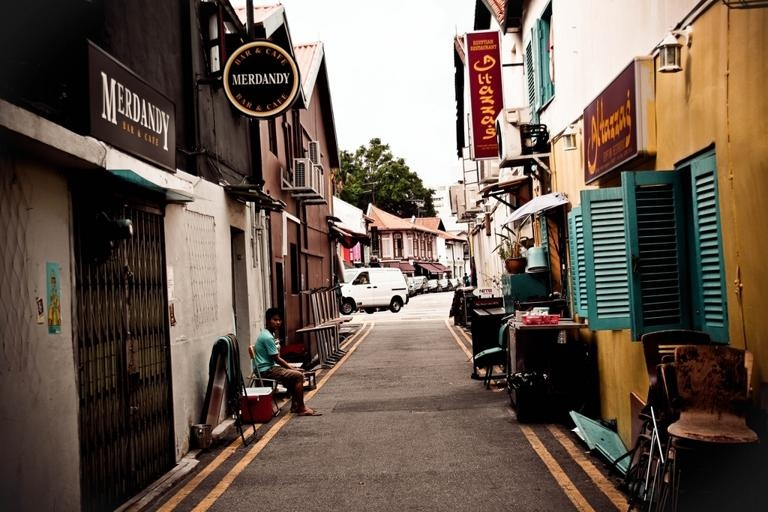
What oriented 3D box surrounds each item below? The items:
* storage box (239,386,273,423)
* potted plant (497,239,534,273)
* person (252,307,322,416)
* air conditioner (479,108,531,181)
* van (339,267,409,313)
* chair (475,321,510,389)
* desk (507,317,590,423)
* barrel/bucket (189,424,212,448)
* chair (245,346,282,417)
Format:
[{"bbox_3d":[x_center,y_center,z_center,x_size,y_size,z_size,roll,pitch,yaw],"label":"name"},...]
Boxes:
[{"bbox_3d":[-2.180,2.554,11.232,0.558,0.485,0.584,-1,-2,4],"label":"storage box"},{"bbox_3d":[3.274,-0.011,16.163,0.768,0.880,0.810,3,-9,-17],"label":"potted plant"},{"bbox_3d":[-1.894,1.897,11.766,1.018,1.781,1.121,-2,0,-33],"label":"person"},{"bbox_3d":[2.888,-2.706,14.322,0.901,2.008,1.560,1,-3,-2],"label":"air conditioner"},{"bbox_3d":[-0.477,1.910,36.335,4.089,2.358,1.879,0,-1,-33],"label":"van"},{"bbox_3d":[2.119,1.975,12.792,0.997,1.531,0.691,1,-2,4],"label":"chair"},{"bbox_3d":[2.735,1.939,11.357,1.205,2.010,1.959,0,-4,-2],"label":"desk"},{"bbox_3d":[-2.767,2.727,9.841,0.291,0.322,0.293,-1,-2,0],"label":"barrel/bucket"},{"bbox_3d":[-2.253,2.266,12.010,1.026,1.158,1.072,-2,-1,0],"label":"chair"}]
